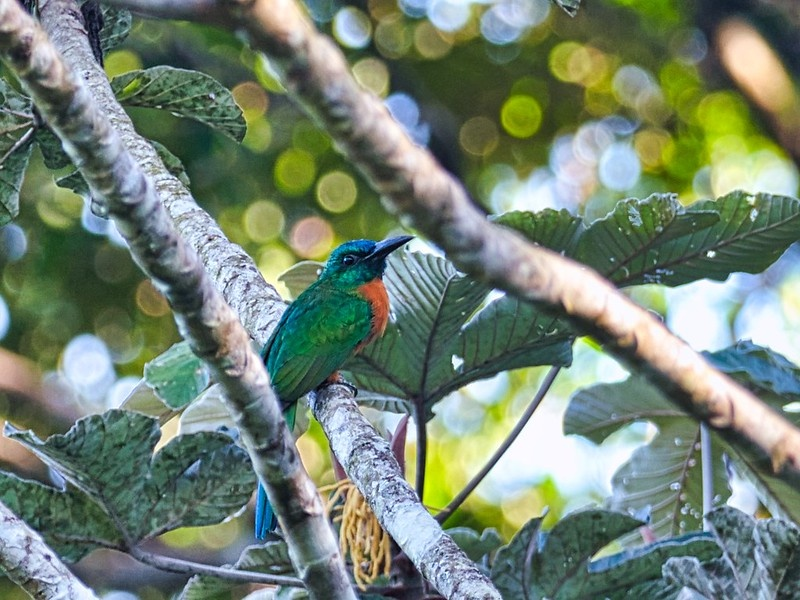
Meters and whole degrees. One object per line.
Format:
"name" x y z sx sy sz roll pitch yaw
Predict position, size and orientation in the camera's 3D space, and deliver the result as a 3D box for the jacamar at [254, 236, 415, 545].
"jacamar" -0.445 0.195 8.695 0.891 1.006 2.278 10 -74 52
